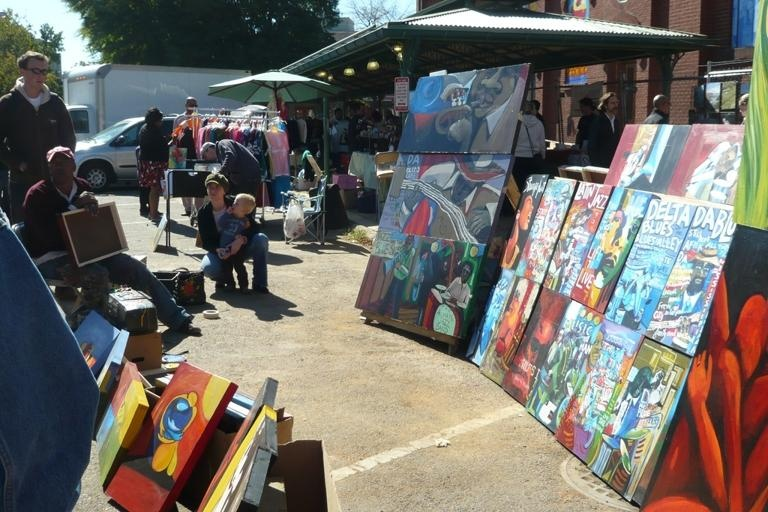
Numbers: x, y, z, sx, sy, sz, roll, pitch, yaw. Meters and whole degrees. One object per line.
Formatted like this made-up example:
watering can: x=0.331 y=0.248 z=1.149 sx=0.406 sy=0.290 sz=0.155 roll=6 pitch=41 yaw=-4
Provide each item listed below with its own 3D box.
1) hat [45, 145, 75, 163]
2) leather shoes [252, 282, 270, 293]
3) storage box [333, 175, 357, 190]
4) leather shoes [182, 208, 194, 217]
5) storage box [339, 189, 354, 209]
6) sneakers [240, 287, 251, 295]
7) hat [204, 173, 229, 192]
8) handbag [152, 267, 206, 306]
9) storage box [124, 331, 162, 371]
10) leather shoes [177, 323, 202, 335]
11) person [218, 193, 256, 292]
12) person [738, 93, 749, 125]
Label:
hat: x=-3.155 y=-0.996 z=6.286 sx=0.213 sy=0.134 sz=0.301 roll=-6 pitch=17 yaw=-21
leather shoes: x=-1.586 y=0.406 z=8.309 sx=0.245 sy=0.118 sz=0.088 roll=10 pitch=12 yaw=25
storage box: x=-0.904 y=-1.739 z=15.123 sx=0.368 sy=0.256 sz=0.384 roll=-2 pitch=4 yaw=-21
leather shoes: x=-4.116 y=-0.917 z=13.542 sx=0.166 sy=0.151 sz=0.456 roll=-6 pitch=-7 yaw=0
storage box: x=-0.845 y=-1.344 z=15.176 sx=0.373 sy=0.415 sz=0.395 roll=-2 pitch=11 yaw=-16
sneakers: x=-1.766 y=0.439 z=8.235 sx=0.144 sy=0.085 sz=0.120 roll=-4 pitch=16 yaw=-16
hat: x=-2.116 y=-0.938 z=8.196 sx=0.233 sy=0.242 sz=0.337 roll=-1 pitch=15 yaw=-5
handbag: x=-2.460 y=0.374 z=7.764 sx=0.480 sy=0.225 sz=0.384 roll=5 pitch=11 yaw=40
storage box: x=-2.080 y=0.813 z=5.507 sx=0.261 sy=0.293 sz=0.271 roll=4 pitch=14 yaw=35
leather shoes: x=-2.033 y=0.764 z=6.757 sx=0.242 sy=0.119 sz=0.101 roll=0 pitch=4 yaw=14
person: x=-1.887 y=-0.185 z=8.261 sx=0.469 sy=1.222 sz=0.475 roll=-2 pitch=14 yaw=-11
person: x=5.780 y=-2.359 z=10.365 sx=0.096 sy=0.466 sz=2.245 roll=7 pitch=17 yaw=26
